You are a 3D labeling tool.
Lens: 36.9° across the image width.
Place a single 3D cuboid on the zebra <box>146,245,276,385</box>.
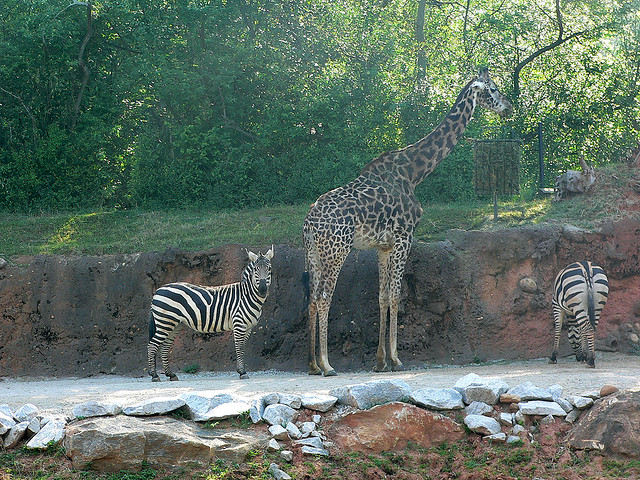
[{"bbox_3d":[-2.932,2.273,27.417,3.968,3.782,1.539,-2,-1,13],"label":"zebra"}]
